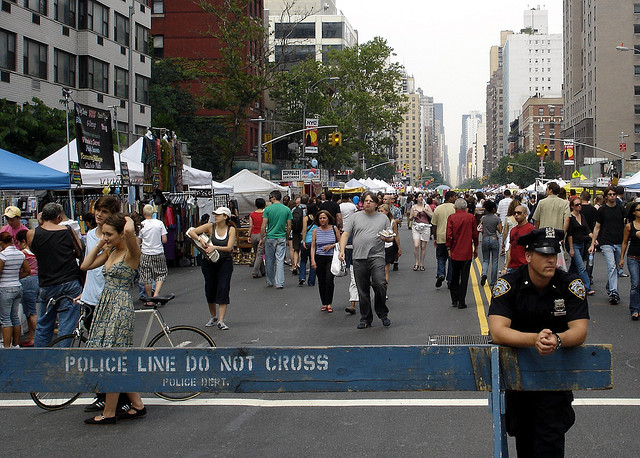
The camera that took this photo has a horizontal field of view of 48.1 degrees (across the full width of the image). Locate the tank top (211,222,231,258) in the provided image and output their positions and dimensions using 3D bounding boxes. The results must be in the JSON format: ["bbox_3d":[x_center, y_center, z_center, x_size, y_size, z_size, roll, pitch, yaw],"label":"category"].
[{"bbox_3d":[-1.799,0.240,13.092,0.362,0.538,0.841,-2,5,-8],"label":"tank top"}]

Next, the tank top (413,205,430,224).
[{"bbox_3d":[3.022,-0.416,21.212,0.476,0.605,0.323,-1,-14,0],"label":"tank top"}]

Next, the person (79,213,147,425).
[{"bbox_3d":[-2.426,1.077,8.362,0.725,2.454,1.564,-2,5,-15],"label":"person"}]

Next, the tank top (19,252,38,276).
[{"bbox_3d":[-4.626,0.567,11.342,0.266,0.501,0.373,1,-6,-13],"label":"tank top"}]

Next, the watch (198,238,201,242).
[{"bbox_3d":[-2.146,0.206,12.757,0.040,0.061,0.022,3,0,10],"label":"watch"}]

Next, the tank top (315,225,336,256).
[{"bbox_3d":[0.124,0.266,14.743,0.420,0.576,0.278,-1,5,8],"label":"tank top"}]

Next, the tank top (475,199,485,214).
[{"bbox_3d":[5.679,-0.824,25.110,0.411,0.620,0.584,4,1,22],"label":"tank top"}]

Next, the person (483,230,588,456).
[{"bbox_3d":[1.904,1.009,6.225,0.820,2.004,0.458,0,4,14],"label":"person"}]

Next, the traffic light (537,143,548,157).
[{"bbox_3d":[18.541,-6.517,59.404,0.694,0.933,2.139,0,5,16],"label":"traffic light"}]

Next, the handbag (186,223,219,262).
[{"bbox_3d":[-2.127,0.261,13.059,0.541,0.605,1.086,-2,5,-10],"label":"handbag"}]

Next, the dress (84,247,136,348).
[{"bbox_3d":[-2.407,0.817,8.254,0.576,1.080,0.383,-3,5,-16],"label":"dress"}]
